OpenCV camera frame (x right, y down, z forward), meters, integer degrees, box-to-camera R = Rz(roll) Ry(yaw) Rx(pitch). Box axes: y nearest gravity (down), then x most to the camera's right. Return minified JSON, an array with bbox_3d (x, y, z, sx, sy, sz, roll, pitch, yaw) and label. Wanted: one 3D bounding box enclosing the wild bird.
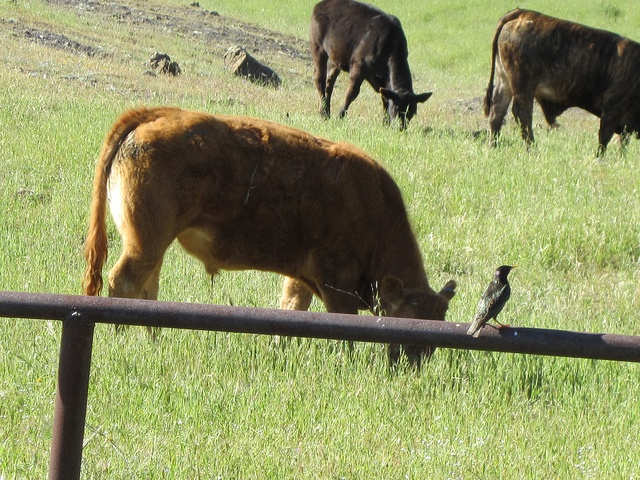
[{"bbox_3d":[2.292,0.870,16.489,0.385,0.888,1.040,12,24,16],"label":"wild bird"}]
